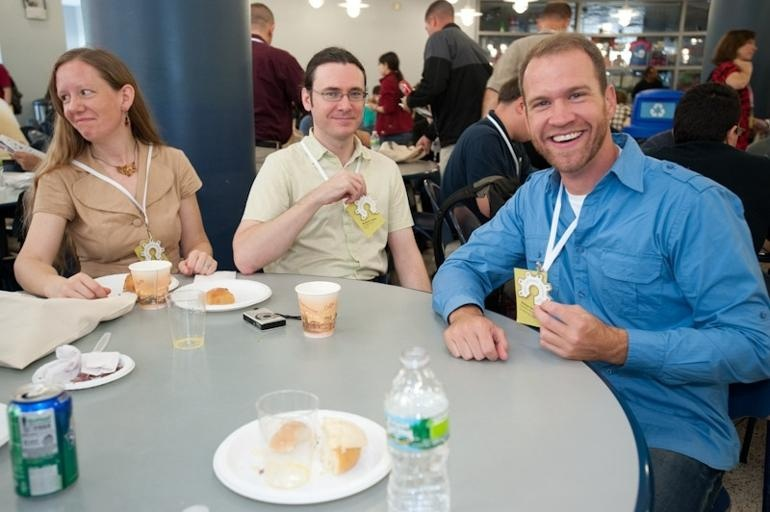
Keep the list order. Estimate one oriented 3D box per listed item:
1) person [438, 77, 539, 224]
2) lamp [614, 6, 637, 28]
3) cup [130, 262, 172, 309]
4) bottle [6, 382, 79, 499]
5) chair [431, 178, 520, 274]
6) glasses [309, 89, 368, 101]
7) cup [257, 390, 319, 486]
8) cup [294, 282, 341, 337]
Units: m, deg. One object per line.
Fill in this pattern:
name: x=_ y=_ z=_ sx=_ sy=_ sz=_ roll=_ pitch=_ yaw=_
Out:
person: x=0.734 y=-0.640 z=3.396 sx=0.622 sy=0.988 sz=0.667 roll=10 pitch=11 yaw=0
lamp: x=4.957 y=-4.892 z=11.106 sx=0.312 sy=0.410 sz=1.295 roll=8 pitch=24 yaw=22
cup: x=-0.801 y=0.103 z=1.854 sx=0.134 sy=0.149 sz=0.139 roll=1 pitch=11 yaw=0
bottle: x=-0.699 y=0.373 z=1.098 sx=0.114 sy=0.199 sz=0.106 roll=-1 pitch=22 yaw=0
chair: x=0.405 y=-0.202 z=2.766 sx=0.477 sy=0.515 sz=0.357 roll=14 pitch=47 yaw=17
glasses: x=-0.200 y=-0.729 z=2.453 sx=0.244 sy=0.055 sz=0.100 roll=-6 pitch=23 yaw=-13
cup: x=-0.201 y=0.379 z=1.142 sx=0.126 sy=0.137 sz=0.156 roll=-5 pitch=22 yaw=-10
cup: x=-0.208 y=0.173 z=1.668 sx=0.143 sy=0.145 sz=0.146 roll=0 pitch=1 yaw=0
